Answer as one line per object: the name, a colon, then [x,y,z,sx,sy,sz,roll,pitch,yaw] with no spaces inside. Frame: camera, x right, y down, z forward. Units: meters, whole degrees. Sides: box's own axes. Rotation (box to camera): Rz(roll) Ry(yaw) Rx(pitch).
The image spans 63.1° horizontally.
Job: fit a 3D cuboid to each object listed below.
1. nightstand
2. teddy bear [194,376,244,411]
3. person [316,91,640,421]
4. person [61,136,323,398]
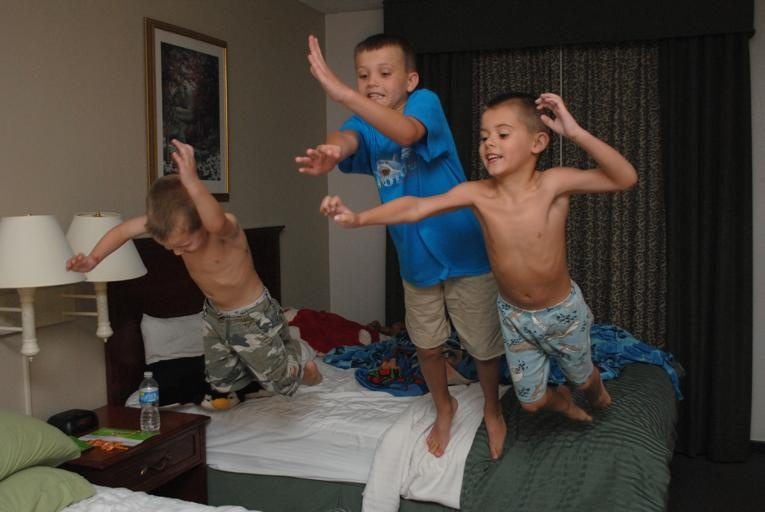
nightstand: [-1.309,1.033,3.350,0.505,0.589,0.611,3,6,19]
teddy bear: [-0.963,0.810,3.658,0.186,0.125,0.231,0,-7,-12]
person: [0.591,0.037,2.830,1.095,1.495,0.341,-9,7,1]
person: [-0.941,0.197,3.373,1.258,1.619,0.724,-23,20,-40]
